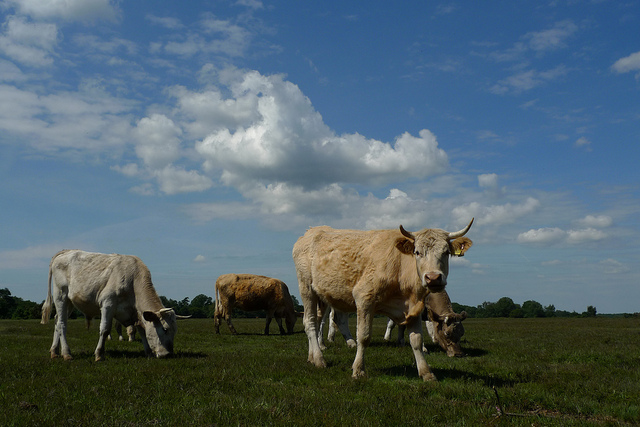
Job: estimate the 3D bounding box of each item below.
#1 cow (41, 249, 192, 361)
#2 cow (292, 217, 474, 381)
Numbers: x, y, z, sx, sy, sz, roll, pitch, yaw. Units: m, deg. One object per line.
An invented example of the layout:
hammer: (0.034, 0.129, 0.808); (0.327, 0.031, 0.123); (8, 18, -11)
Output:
cow: (-8.382, 3.832, 20.709); (6.518, 4.377, 1.837); (4, -3, 17)
cow: (1.785, 2.725, 17.267); (1.992, 5.293, 5.822); (10, -15, -42)
